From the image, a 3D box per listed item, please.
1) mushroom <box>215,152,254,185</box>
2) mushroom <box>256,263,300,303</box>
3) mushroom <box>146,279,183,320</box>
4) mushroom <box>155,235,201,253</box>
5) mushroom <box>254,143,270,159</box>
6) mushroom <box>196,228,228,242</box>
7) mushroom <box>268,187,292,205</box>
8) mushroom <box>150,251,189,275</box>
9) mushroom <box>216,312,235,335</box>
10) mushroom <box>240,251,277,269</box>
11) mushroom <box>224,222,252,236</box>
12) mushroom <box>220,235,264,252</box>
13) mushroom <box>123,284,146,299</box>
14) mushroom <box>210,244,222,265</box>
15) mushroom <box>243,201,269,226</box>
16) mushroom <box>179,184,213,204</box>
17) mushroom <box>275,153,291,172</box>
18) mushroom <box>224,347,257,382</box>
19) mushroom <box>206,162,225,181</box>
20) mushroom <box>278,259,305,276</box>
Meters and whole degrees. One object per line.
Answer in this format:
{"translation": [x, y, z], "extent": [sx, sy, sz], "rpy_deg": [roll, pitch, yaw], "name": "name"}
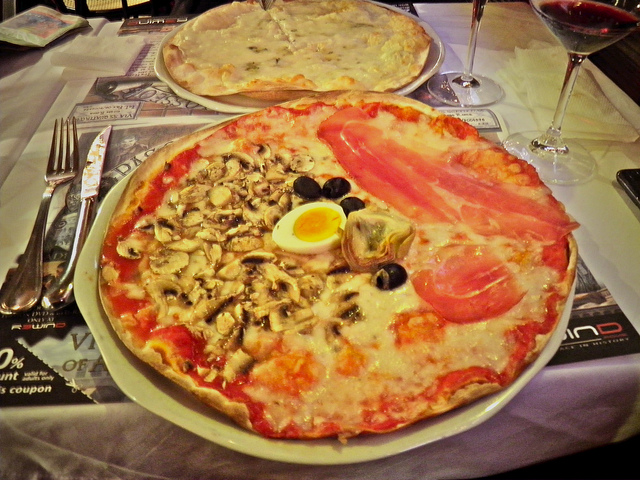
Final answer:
{"translation": [-0.335, -0.305, 2.055], "extent": [0.150, 0.037, 0.129], "rpy_deg": [8, 61, 16], "name": "mushroom"}
{"translation": [-0.119, 0.135, 1.760], "extent": [0.119, 0.079, 0.300], "rpy_deg": [-11, 17, -35], "name": "mushroom"}
{"translation": [-0.506, 0.195, 1.708], "extent": [0.135, 0.036, 0.166], "rpy_deg": [-9, 18, 8], "name": "mushroom"}
{"translation": [-0.508, 0.014, 1.827], "extent": [0.098, 0.023, 0.064], "rpy_deg": [8, 33, 10], "name": "mushroom"}
{"translation": [-0.237, -0.370, 2.104], "extent": [0.057, 0.064, 0.058], "rpy_deg": [45, 80, 1], "name": "mushroom"}
{"translation": [-0.394, -0.019, 1.841], "extent": [0.090, 0.018, 0.046], "rpy_deg": [9, 42, 6], "name": "mushroom"}
{"translation": [-0.153, -0.178, 1.968], "extent": [0.058, 0.022, 0.081], "rpy_deg": [23, 41, 22], "name": "mushroom"}
{"translation": [-0.525, 0.077, 1.775], "extent": [0.114, 0.021, 0.069], "rpy_deg": [-13, 50, -12], "name": "mushroom"}
{"translation": [-0.308, 0.267, 1.638], "extent": [0.059, 0.024, 0.060], "rpy_deg": [-7, 62, 2], "name": "mushroom"}
{"translation": [-0.219, 0.065, 1.787], "extent": [0.077, 0.023, 0.072], "rpy_deg": [-4, 31, -23], "name": "mushroom"}
{"translation": [-0.296, -0.042, 1.861], "extent": [0.067, 0.017, 0.045], "rpy_deg": [-22, 11, 8], "name": "mushroom"}
{"translation": [-0.289, 0.015, 1.824], "extent": [0.113, 0.023, 0.065], "rpy_deg": [-4, 37, -2], "name": "mushroom"}
{"translation": [-0.628, 0.173, 1.727], "extent": [0.058, 0.014, 0.051], "rpy_deg": [-2, 44, -8], "name": "mushroom"}
{"translation": [-0.371, 0.045, 1.768], "extent": [0.038, 0.012, 0.057], "rpy_deg": [-6, 59, -8], "name": "mushroom"}
{"translation": [-0.250, -0.103, 1.907], "extent": [0.088, 0.024, 0.079], "rpy_deg": [16, 53, 15], "name": "mushroom"}
{"translation": [-0.479, -0.185, 1.959], "extent": [0.082, 0.030, 0.077], "rpy_deg": [-45, 54, -15], "name": "mushroom"}
{"translation": [-0.154, -0.325, 2.072], "extent": [0.083, 0.022, 0.072], "rpy_deg": [-18, 59, -5], "name": "mushroom"}
{"translation": [-0.248, 0.381, 1.578], "extent": [0.086, 0.025, 0.087], "rpy_deg": [40, 75, 18], "name": "mushroom"}
{"translation": [-0.414, -0.274, 2.029], "extent": [0.077, 0.022, 0.072], "rpy_deg": [15, 54, 15], "name": "mushroom"}
{"translation": [-0.099, 0.097, 1.778], "extent": [0.072, 0.016, 0.050], "rpy_deg": [37, 68, 21], "name": "mushroom"}
